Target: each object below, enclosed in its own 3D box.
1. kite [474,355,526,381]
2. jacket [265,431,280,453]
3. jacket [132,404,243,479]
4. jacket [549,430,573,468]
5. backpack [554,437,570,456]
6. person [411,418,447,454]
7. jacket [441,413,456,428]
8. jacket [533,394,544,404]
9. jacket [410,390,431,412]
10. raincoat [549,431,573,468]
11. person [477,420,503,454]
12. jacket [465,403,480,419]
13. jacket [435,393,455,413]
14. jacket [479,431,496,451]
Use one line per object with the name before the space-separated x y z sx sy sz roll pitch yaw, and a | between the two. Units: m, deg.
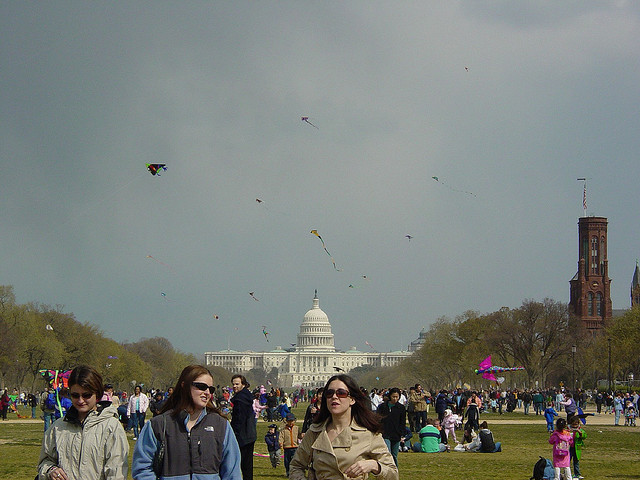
kite | 14.234 10.623 91.146 3.471 0.559 3.907 1 25 -6
jacket | -1.704 7.273 41.061 0.453 0.753 0.823 -1 -14 -4
jacket | -3.269 4.975 27.977 2.541 1.827 0.283 0 -13 -8
jacket | 8.223 6.898 38.229 0.932 0.577 1.406 -1 -55 14
backpack | 8.109 6.857 38.074 0.565 0.890 0.480 3 -3 9
person | 4.664 8.150 47.558 1.366 1.485 0.812 2 -7 -5
jacket | 5.652 7.942 50.045 0.341 0.660 0.775 -12 -17 37
jacket | 15.164 10.895 78.442 0.550 0.488 2.151 -5 -15 12
jacket | 4.816 7.751 54.955 0.729 1.095 1.987 -3 -14 7
raincoat | 8.203 7.026 38.139 0.840 1.283 0.504 0 -19 11
person | 7.029 8.262 47.525 1.162 1.319 0.844 -7 -5 1
jacket | 7.150 7.755 51.801 0.779 0.977 0.614 3 -9 -8
jacket | 6.170 8.014 56.221 0.738 1.069 1.403 -3 -14 5
jacket | 7.023 8.387 47.315 0.811 0.935 0.551 -4 1 11
